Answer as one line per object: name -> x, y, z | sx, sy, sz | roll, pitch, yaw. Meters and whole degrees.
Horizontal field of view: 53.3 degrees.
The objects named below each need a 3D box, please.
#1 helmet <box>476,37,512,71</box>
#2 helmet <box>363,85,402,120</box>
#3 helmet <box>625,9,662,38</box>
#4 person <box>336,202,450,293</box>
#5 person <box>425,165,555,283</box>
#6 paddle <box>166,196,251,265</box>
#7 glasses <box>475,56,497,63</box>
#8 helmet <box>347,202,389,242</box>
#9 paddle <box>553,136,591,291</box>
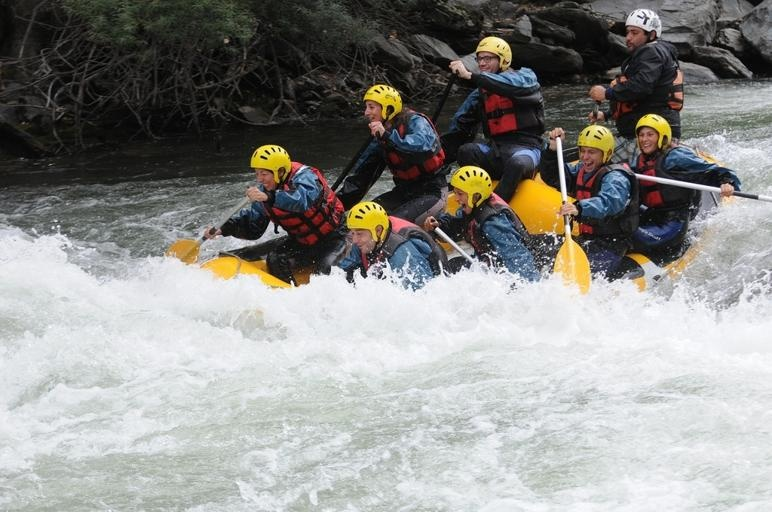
helmet -> 1.175, -2.203, 8.404 | 0.286, 0.388, 0.364 | 1, 13, 29
helmet -> -0.072, -1.607, 7.983 | 0.422, 0.284, 0.454 | 16, 17, 26
helmet -> 2.884, -2.631, 8.697 | 0.311, 0.342, 0.391 | -1, 12, 23
person -> 0.041, -0.046, 7.256 | 0.711, 0.883, 0.520 | -37, 38, 11
person -> 1.028, -0.282, 7.611 | 1.234, 1.151, 0.777 | -6, 47, 12
paddle -> -1.734, -0.238, 7.492 | 0.759, 0.575, 0.372 | -12, 13, -35
glasses -> 1.061, -2.130, 8.325 | 0.236, 0.088, 0.075 | 3, 14, 33
helmet -> -0.161, -0.301, 7.117 | 0.389, 0.383, 0.207 | -5, 13, 1
paddle -> 1.771, -0.357, 7.525 | 0.346, 1.284, 1.158 | -4, 11, 14
